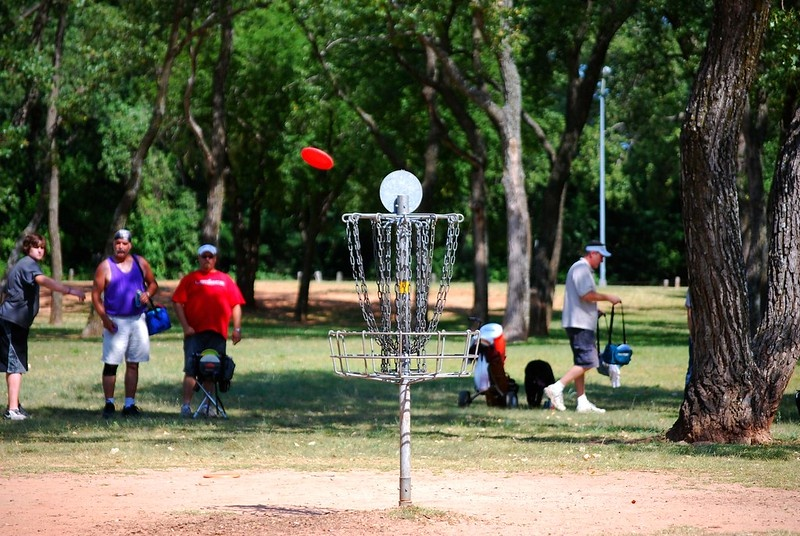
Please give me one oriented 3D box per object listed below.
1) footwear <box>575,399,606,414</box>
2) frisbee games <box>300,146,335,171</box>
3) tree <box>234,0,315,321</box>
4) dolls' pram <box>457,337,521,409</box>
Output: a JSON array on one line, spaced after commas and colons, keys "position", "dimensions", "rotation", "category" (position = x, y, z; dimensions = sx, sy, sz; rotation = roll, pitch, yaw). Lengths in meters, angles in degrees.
[{"position": [4.783, 3.398, 45.368], "dimensions": [0.845, 0.381, 0.290], "rotation": [-1, 2, -25], "category": "footwear"}, {"position": [-1.712, -2.427, 38.914], "dimensions": [0.719, 0.516, 0.235], "rotation": [17, 43, 25], "category": "frisbee games"}, {"position": [-4.726, -3.679, 65.937], "dimensions": [2.828, 10.737, 6.389], "rotation": [0, 0, -5], "category": "tree"}, {"position": [2.418, 2.557, 46.340], "dimensions": [1.738, 2.536, 1.465], "rotation": [-1, 4, -3], "category": "dolls' pram"}]
